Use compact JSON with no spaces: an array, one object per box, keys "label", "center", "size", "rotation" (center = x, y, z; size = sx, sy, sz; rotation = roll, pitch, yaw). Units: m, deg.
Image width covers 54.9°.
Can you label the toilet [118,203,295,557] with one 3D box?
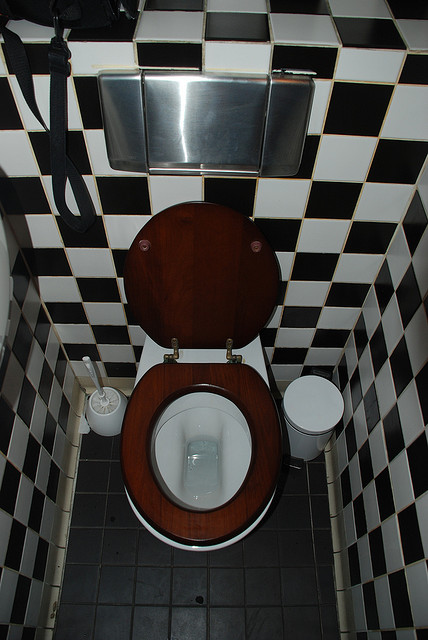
[{"label":"toilet","center":[-0.040,0.170,0.943],"size":[0.283,0.719,0.626],"rotation":[-1,40,-1]}]

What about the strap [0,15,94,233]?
[{"label":"strap","center":[-0.277,-0.311,0.735],"size":[0.081,0.414,0.126],"rotation":[-34,59,-27]}]
